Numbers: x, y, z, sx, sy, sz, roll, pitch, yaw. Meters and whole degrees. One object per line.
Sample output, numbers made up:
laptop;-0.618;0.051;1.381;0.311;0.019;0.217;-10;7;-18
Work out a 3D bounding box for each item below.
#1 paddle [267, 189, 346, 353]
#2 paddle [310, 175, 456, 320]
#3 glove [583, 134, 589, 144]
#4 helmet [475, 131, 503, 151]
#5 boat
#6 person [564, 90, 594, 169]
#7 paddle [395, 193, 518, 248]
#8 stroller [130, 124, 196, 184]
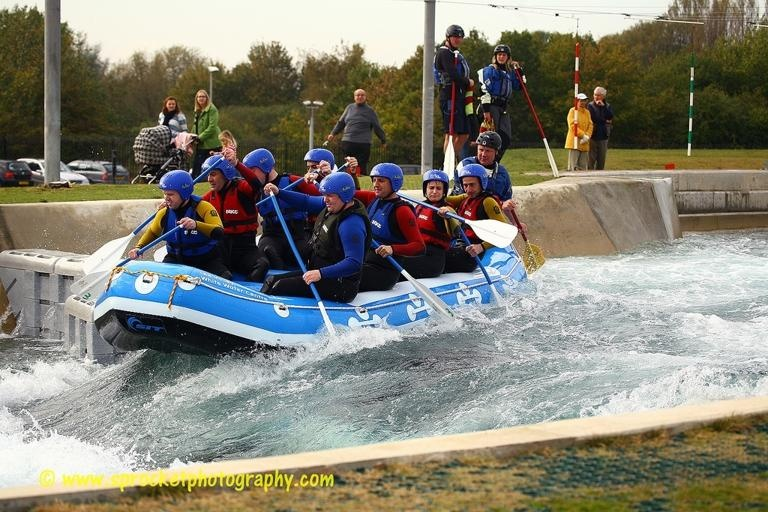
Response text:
paddle;-0.966;0.216;10.016;0.269;2.374;0.189;-36;-24;16
paddle;-0.037;-0.054;10.443;0.383;2.797;0.149;-51;2;-23
glove;4.857;-2.845;19.736;0.168;0.201;0.477;0;8;12
helmet;1.628;-1.804;12.702;0.288;0.245;0.394;14;-13;6
boat;-1.021;0.623;9.899;3.812;0.788;1.806;-2;7;-37
person;4.733;-3.022;19.803;0.609;1.868;1.585;0;8;14
paddle;0.978;-0.492;11.535;2.002;0.413;0.090;23;2;-2
stroller;-4.544;-2.094;16.868;1.260;1.241;1.027;-2;11;-31
